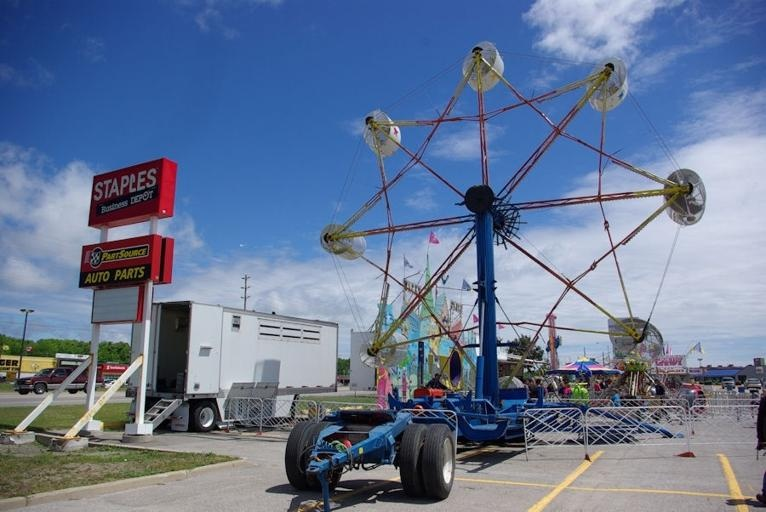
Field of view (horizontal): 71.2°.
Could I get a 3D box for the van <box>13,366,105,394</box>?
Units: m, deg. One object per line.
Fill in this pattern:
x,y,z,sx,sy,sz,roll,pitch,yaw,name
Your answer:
-25.421,9.664,41.772,3.639,2.363,5.655,1,-16,-6,van
